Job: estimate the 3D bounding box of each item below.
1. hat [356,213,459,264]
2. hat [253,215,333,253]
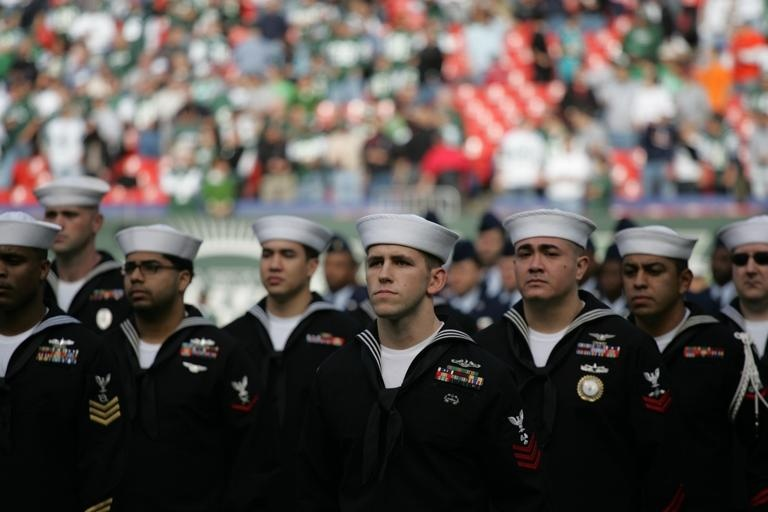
[{"bbox_3d":[0.333,-0.187,15.192,0.587,0.187,0.639,4,-11,36],"label":"hat"},{"bbox_3d":[-0.941,-0.264,17.253,0.542,0.175,0.501,13,-15,-15],"label":"hat"}]
